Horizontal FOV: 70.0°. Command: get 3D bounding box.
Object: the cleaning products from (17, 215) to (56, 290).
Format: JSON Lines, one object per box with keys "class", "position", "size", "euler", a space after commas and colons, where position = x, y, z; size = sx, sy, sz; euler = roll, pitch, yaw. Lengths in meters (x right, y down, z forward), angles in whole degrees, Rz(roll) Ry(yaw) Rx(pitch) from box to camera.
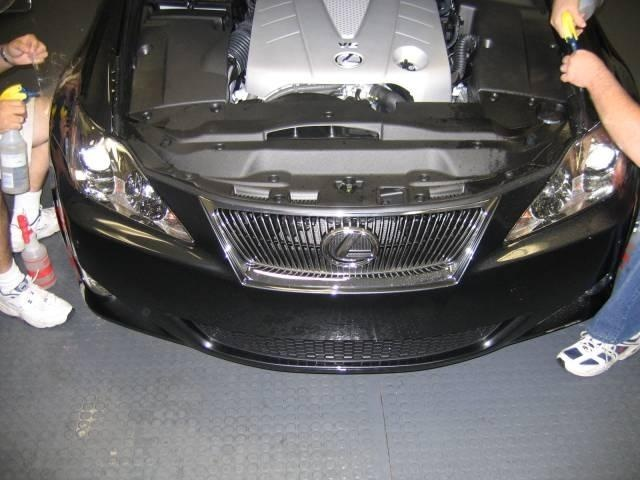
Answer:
{"class": "cleaning products", "position": [-1.355, 0.066, 2.155], "size": [0.131, 0.370, 0.123], "euler": [-20, 55, -17]}
